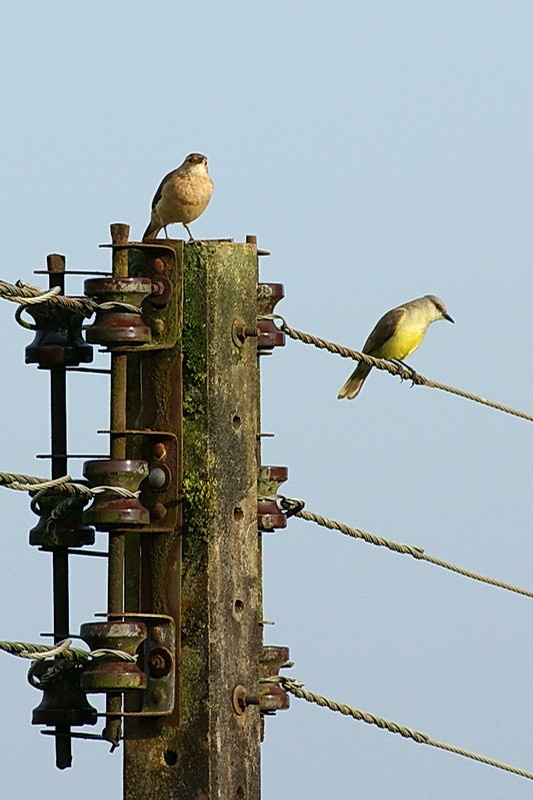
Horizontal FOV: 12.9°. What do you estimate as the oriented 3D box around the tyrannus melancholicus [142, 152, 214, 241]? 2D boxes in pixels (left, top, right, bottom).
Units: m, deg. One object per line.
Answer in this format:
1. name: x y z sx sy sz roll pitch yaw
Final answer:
1. tyrannus melancholicus: -0.366 -0.867 9.656 0.185 0.394 0.403 1 -81 -35
